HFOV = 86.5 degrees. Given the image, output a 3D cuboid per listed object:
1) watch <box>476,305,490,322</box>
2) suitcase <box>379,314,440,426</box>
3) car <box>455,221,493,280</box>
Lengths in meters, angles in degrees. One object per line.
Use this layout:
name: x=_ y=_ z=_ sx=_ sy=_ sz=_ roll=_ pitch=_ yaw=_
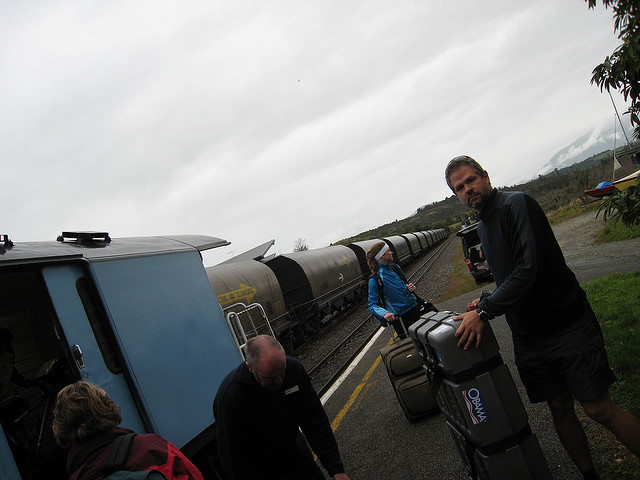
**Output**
watch: x=1.273 y=0.582 z=2.660 sx=0.056 sy=0.084 sz=0.092 roll=-45 pitch=3 yaw=5
suitcase: x=1.360 y=1.797 z=4.927 sx=0.846 sy=1.346 sz=0.821 roll=-20 pitch=-3 yaw=-31
car: x=6.952 y=0.721 z=14.448 sx=1.589 sy=2.166 sz=3.522 roll=-20 pitch=-9 yaw=23
